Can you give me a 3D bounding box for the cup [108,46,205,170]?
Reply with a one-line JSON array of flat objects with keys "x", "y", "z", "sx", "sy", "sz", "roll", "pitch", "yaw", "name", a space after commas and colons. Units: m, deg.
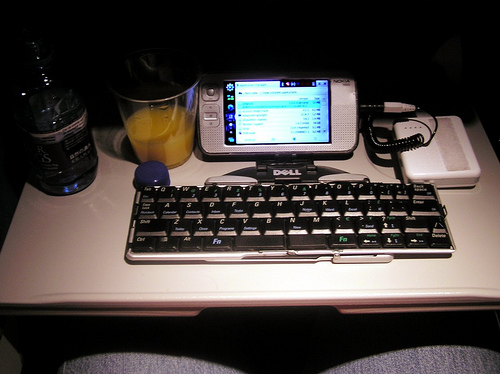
[{"x": -0.154, "y": -0.178, "z": 0.983, "sx": 0.264, "sy": 0.232, "sz": 0.261, "roll": 1, "pitch": 53, "yaw": -1, "name": "cup"}]
